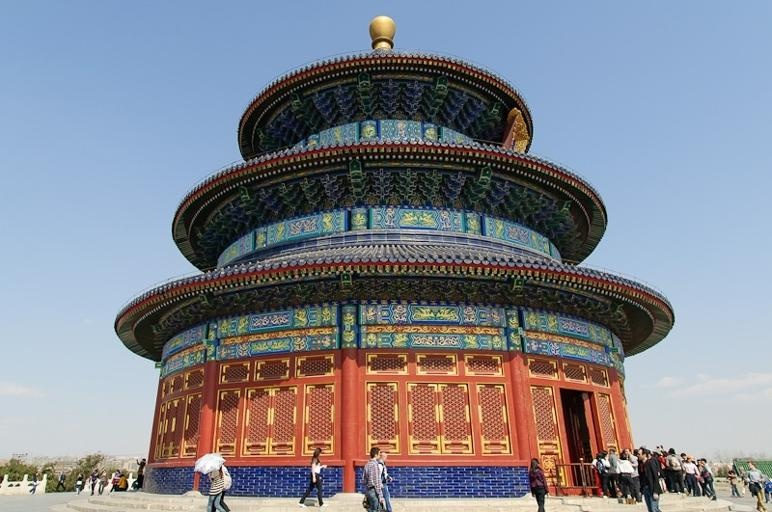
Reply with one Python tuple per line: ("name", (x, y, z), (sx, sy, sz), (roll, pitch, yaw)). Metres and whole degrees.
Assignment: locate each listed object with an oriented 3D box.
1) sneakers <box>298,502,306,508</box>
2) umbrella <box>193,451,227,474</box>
("sneakers", (-2.732, 8.254, 16.906), (0.265, 0.123, 0.215), (6, -29, -16))
("umbrella", (-5.038, 5.906, 14.888), (0.848, 0.812, 0.290), (-14, -70, 7))
